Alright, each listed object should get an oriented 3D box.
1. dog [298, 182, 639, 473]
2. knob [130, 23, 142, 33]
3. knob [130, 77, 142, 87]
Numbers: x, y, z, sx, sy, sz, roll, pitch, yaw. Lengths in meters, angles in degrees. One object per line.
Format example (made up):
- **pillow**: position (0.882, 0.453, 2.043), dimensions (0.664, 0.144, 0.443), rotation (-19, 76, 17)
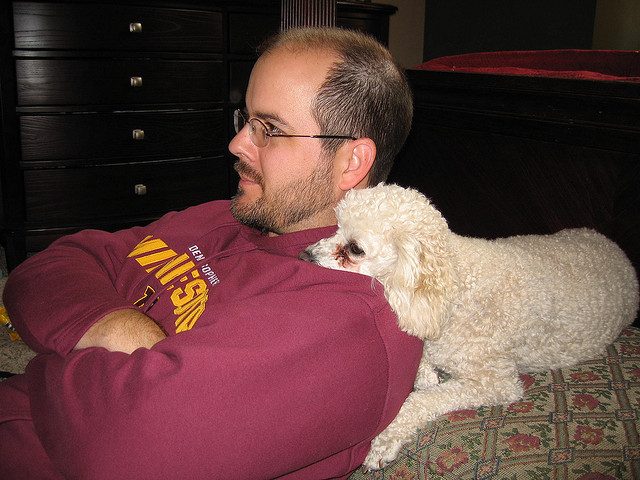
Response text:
- **dog**: position (0.444, 0.162, 1.511), dimensions (0.956, 0.578, 0.538), rotation (-11, 29, -25)
- **knob**: position (-1.047, -1.207, 2.950), dimensions (0.077, 0.067, 0.045), rotation (-2, 13, -10)
- **knob**: position (-1.078, -0.929, 3.038), dimensions (0.082, 0.070, 0.046), rotation (-4, 15, -24)
